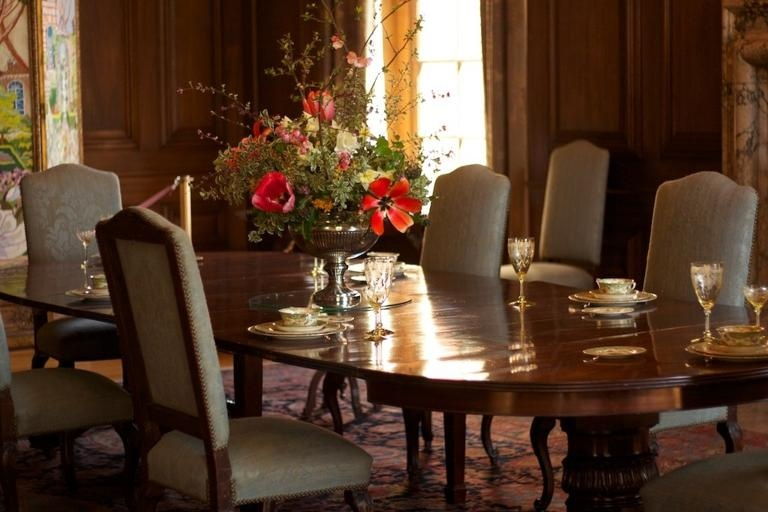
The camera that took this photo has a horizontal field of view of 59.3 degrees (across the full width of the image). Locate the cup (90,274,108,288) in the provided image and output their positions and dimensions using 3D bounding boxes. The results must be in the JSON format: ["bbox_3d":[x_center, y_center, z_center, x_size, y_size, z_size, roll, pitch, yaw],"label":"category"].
[{"bbox_3d":[-1.207,0.105,2.857,0.061,0.044,0.063,-1,-4,0],"label":"cup"}]

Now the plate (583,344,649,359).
[{"bbox_3d":[0.654,0.264,1.914,0.168,0.019,0.139,1,7,15],"label":"plate"}]

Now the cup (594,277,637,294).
[{"bbox_3d":[0.890,0.109,2.623,0.108,0.043,0.096,6,5,32],"label":"cup"}]

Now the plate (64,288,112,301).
[{"bbox_3d":[-1.201,0.157,2.777,0.138,0.018,0.138,2,3,26],"label":"plate"}]

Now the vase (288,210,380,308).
[{"bbox_3d":[-0.194,0.010,2.683,0.379,0.346,0.318,-1,0,-8],"label":"vase"}]
